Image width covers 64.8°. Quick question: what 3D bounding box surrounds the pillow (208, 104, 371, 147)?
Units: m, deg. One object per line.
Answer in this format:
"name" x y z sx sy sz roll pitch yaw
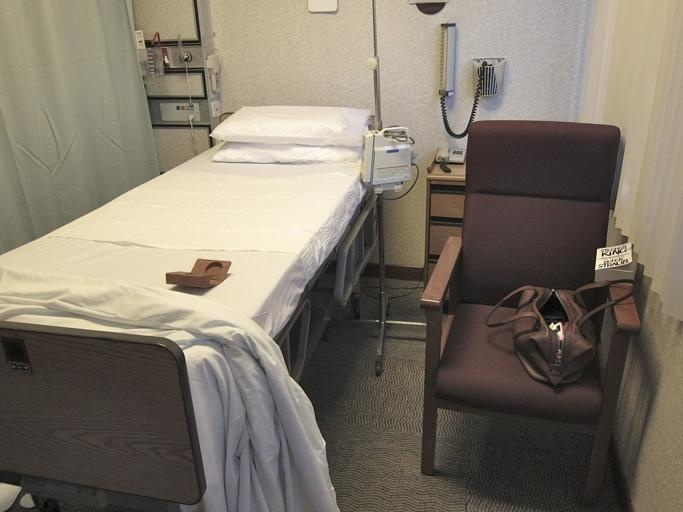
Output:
"pillow" -0.322 -0.811 3.379 0.664 0.122 0.434 1 35 8

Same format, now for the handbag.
"handbag" 0.923 0.236 2.298 0.562 0.265 0.645 12 30 32

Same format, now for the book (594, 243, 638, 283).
"book" 1.145 0.018 2.224 0.177 0.171 0.070 1 -1 3
